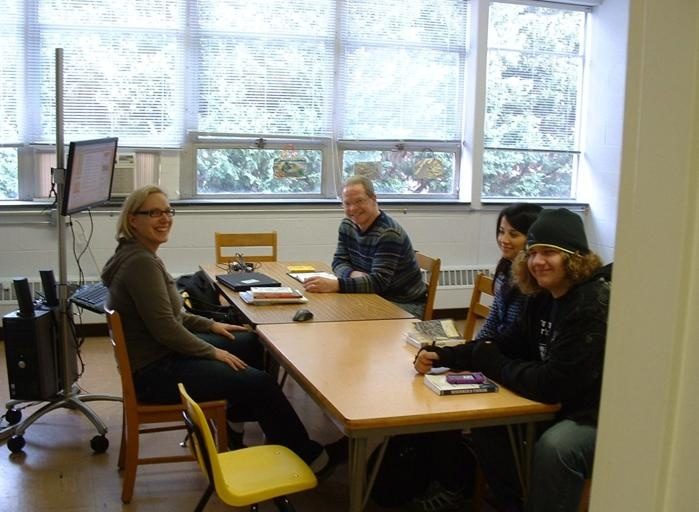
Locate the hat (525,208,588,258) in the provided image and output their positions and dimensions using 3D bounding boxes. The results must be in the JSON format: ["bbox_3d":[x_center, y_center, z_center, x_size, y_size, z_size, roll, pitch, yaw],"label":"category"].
[{"bbox_3d":[0.787,-0.099,2.156,0.191,0.149,0.191,8,5,29],"label":"hat"}]

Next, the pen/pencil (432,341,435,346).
[{"bbox_3d":[0.349,0.363,2.355,0.012,0.011,0.021,-1,-19,3],"label":"pen/pencil"}]

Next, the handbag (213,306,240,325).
[{"bbox_3d":[-0.718,0.345,3.336,0.166,0.073,0.124,-3,11,-23],"label":"handbag"}]

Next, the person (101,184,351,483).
[{"bbox_3d":[-0.666,0.394,2.867,1.170,1.381,0.588,3,7,-9],"label":"person"}]

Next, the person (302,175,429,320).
[{"bbox_3d":[0.142,-0.004,3.785,0.802,1.006,0.821,0,11,5],"label":"person"}]

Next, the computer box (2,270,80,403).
[{"bbox_3d":[-1.772,0.462,3.234,0.255,0.735,0.343,2,10,-4],"label":"computer box"}]
